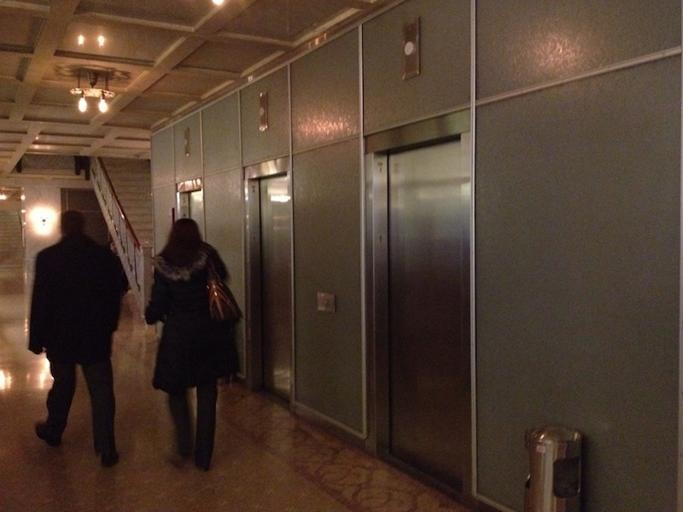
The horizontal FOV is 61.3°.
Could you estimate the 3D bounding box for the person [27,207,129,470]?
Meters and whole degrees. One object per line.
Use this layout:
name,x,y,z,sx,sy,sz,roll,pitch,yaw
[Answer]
person,-2.233,0.671,4.870,0.848,2.112,0.458,2,5,22

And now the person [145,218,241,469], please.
person,-1.224,0.716,4.737,0.726,2.049,0.403,-1,5,-13

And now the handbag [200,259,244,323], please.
handbag,-0.948,0.300,4.680,0.274,0.501,0.214,-3,6,-33
